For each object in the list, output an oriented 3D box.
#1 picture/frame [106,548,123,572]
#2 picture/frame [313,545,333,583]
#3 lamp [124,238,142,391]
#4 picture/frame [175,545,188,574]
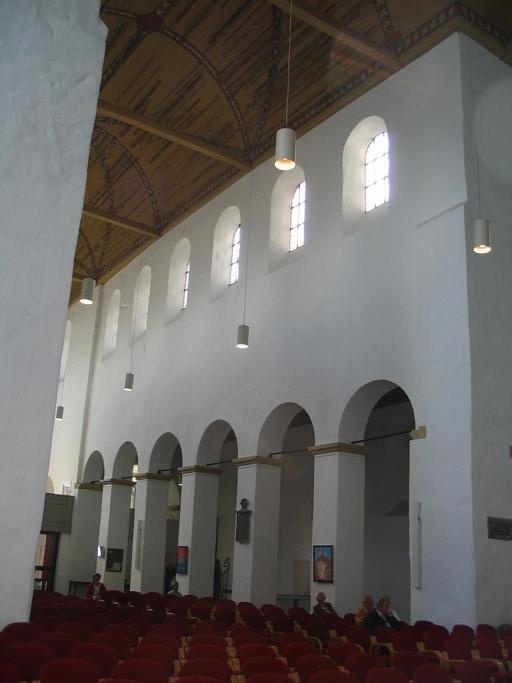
[{"bbox_3d":[-4.279,6.594,16.233,0.459,0.764,0.335,6,-25,-20],"label":"picture/frame"},{"bbox_3d":[1.140,3.746,9.055,0.069,0.736,0.498,15,-23,-31],"label":"picture/frame"},{"bbox_3d":[-4.161,-0.137,17.860,0.323,3.490,0.345,3,0,44],"label":"lamp"},{"bbox_3d":[-1.758,5.232,12.898,0.102,0.669,0.579,10,-18,-28],"label":"picture/frame"}]
